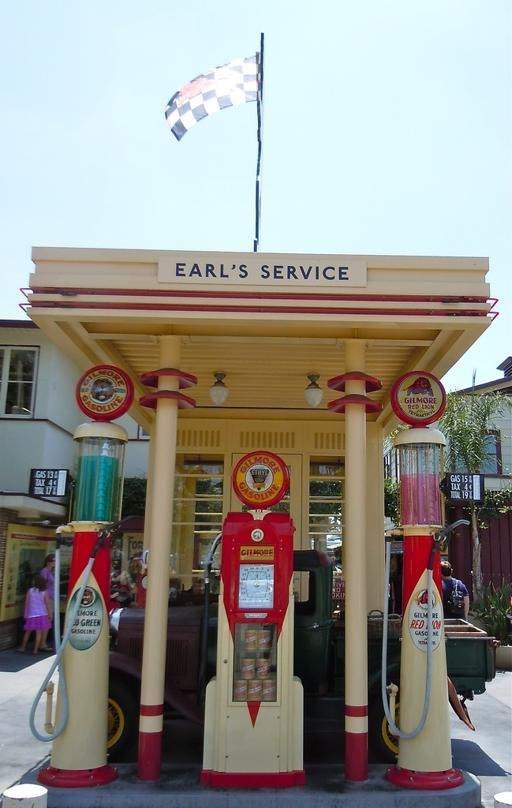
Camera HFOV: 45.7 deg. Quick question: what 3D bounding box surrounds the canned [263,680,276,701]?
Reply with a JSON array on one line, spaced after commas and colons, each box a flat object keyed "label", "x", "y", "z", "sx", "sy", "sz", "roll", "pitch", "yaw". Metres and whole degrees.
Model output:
[{"label": "canned", "x": 0.090, "y": 1.933, "z": 4.128, "sx": 0.104, "sy": 0.127, "sz": 0.109, "roll": -3, "pitch": -10, "yaw": 11}]

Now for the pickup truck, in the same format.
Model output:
[{"label": "pickup truck", "x": 0.311, "y": 2.271, "z": 5.679, "sx": 3.717, "sy": 1.813, "sz": 1.640, "roll": -1, "pitch": -14, "yaw": 4}]

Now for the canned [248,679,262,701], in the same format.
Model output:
[{"label": "canned", "x": -0.006, "y": 1.932, "z": 4.135, "sx": 0.098, "sy": 0.122, "sz": 0.103, "roll": -1, "pitch": -7, "yaw": 5}]

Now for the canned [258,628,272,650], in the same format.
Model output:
[{"label": "canned", "x": 0.064, "y": 1.612, "z": 4.225, "sx": 0.115, "sy": 0.133, "sz": 0.120, "roll": -1, "pitch": -7, "yaw": 6}]

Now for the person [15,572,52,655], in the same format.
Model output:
[{"label": "person", "x": -4.142, "y": 3.919, "z": 11.482, "sx": 0.481, "sy": 1.383, "sz": 0.912, "roll": 7, "pitch": -12, "yaw": -19}]

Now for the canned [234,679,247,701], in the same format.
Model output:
[{"label": "canned", "x": -0.109, "y": 1.932, "z": 4.129, "sx": 0.097, "sy": 0.118, "sz": 0.102, "roll": -2, "pitch": -7, "yaw": 11}]

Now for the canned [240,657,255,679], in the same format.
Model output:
[{"label": "canned", "x": -0.059, "y": 1.802, "z": 4.176, "sx": 0.105, "sy": 0.129, "sz": 0.109, "roll": 0, "pitch": -9, "yaw": -1}]

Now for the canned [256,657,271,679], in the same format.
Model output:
[{"label": "canned", "x": 0.052, "y": 1.802, "z": 4.181, "sx": 0.098, "sy": 0.122, "sz": 0.103, "roll": -3, "pitch": -8, "yaw": 21}]
